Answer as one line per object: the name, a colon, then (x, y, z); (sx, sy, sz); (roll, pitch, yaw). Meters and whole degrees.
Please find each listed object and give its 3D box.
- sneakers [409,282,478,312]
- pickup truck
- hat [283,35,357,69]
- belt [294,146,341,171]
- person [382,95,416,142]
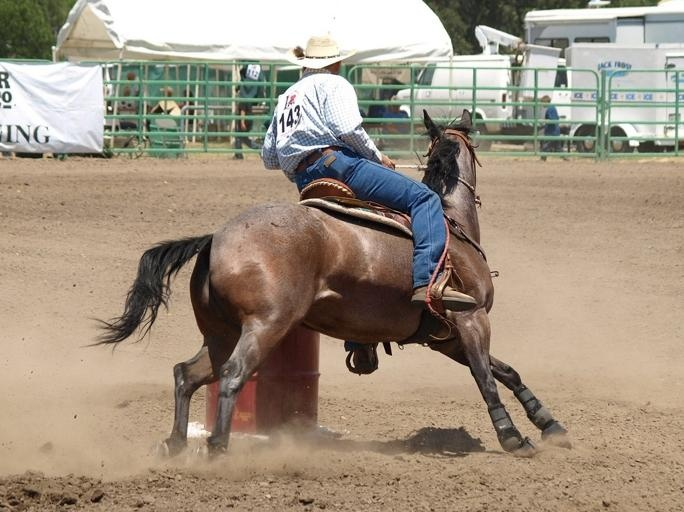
sneakers: (0.946, 0.407, 10.215); (0.672, 0.250, 0.224); (6, -20, -6)
pickup truck: (3.340, -3.793, 24.983); (5.378, 2.378, 2.811); (2, 4, 4)
hat: (-0.197, -2.010, 10.679); (0.695, 0.232, 0.616); (-16, 25, -27)
belt: (-0.242, -0.916, 10.327); (0.304, 0.101, 0.220); (-30, -3, -1)
person: (1.197, -2.826, 23.261); (0.846, 1.090, 0.287); (3, 8, -5)
